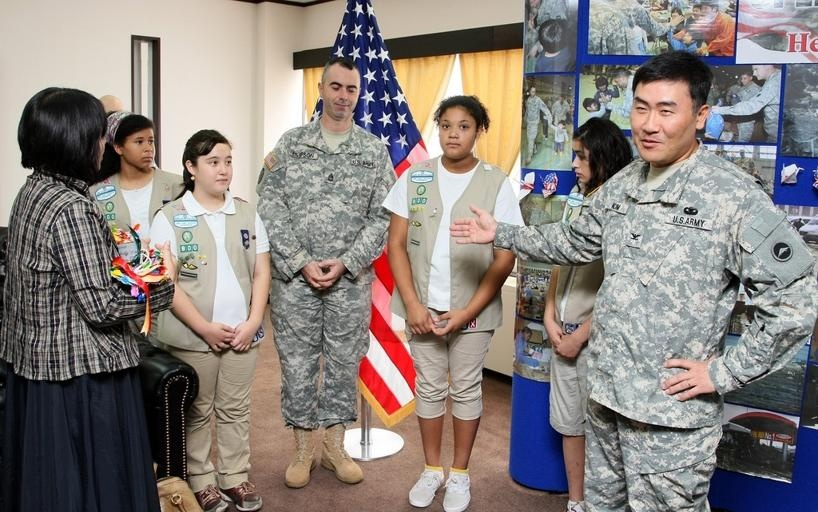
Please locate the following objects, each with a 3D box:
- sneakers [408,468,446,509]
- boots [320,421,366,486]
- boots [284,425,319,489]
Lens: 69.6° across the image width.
[{"bbox_3d":[0.102,1.277,3.288,0.114,0.115,0.262,11,11,23],"label":"sneakers"},{"bbox_3d":[-0.406,1.177,3.549,0.138,0.300,0.398,-2,7,-38],"label":"boots"},{"bbox_3d":[-0.644,1.186,3.484,0.115,0.303,0.306,1,19,10],"label":"boots"}]
